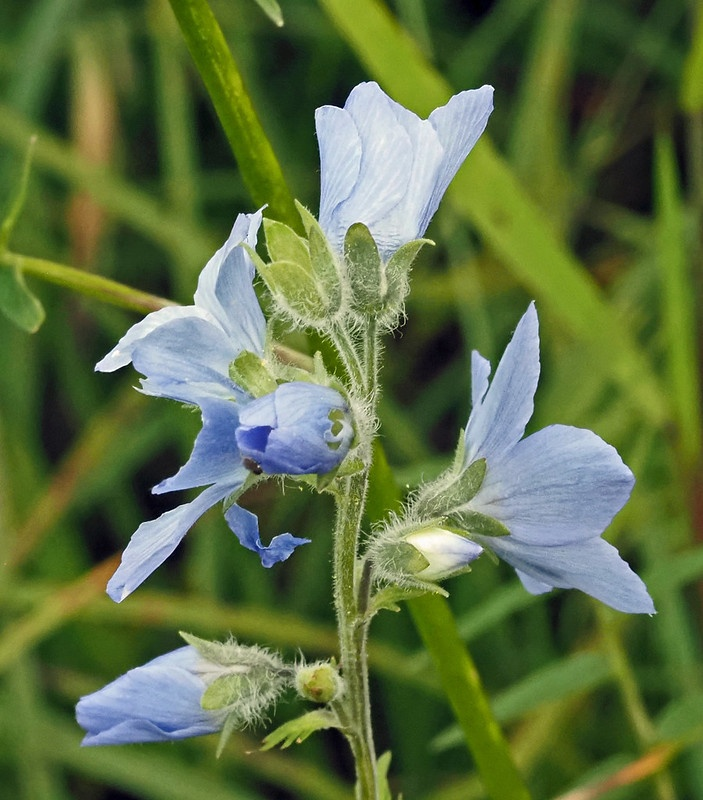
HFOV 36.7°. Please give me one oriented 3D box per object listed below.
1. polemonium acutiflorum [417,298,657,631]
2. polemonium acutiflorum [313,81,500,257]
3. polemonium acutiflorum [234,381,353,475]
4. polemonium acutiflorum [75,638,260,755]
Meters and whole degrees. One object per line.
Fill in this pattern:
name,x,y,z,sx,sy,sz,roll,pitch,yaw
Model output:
polemonium acutiflorum,0.187,0.062,1.068,0.166,0.145,0.327,-11,-66,4
polemonium acutiflorum,0.067,-0.242,1.189,0.191,0.169,0.153,9,-107,1
polemonium acutiflorum,-0.060,0.031,1.022,0.100,0.075,0.070,-6,-37,-33
polemonium acutiflorum,-0.204,0.304,1.152,0.151,0.065,0.088,-10,-34,-43
